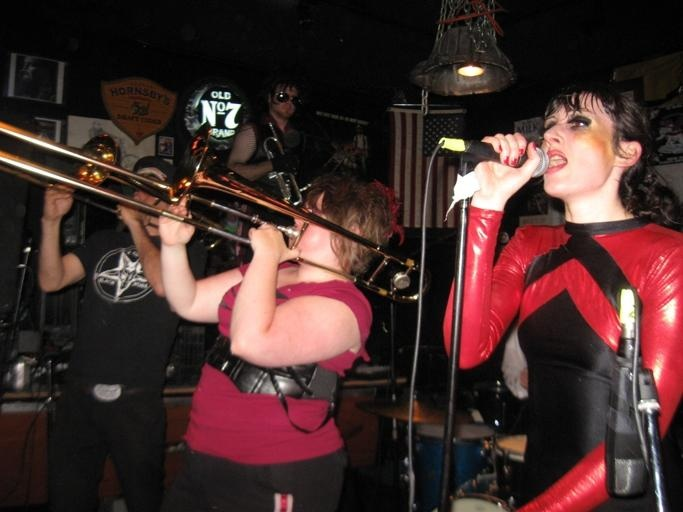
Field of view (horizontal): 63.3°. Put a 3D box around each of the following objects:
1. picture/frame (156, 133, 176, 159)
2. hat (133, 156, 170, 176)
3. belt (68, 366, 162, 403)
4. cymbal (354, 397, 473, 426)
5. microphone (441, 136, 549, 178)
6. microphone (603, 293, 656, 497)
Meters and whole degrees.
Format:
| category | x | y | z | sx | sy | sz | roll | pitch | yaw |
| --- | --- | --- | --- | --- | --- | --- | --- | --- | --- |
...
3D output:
| category | x | y | z | sx | sy | sz | roll | pitch | yaw |
| --- | --- | --- | --- | --- | --- | --- | --- | --- | --- |
| picture/frame | -1.527 | -0.942 | 4.775 | 0.192 | 0.182 | 0.177 | -1 | 10 | -30 |
| hat | -1.240 | -0.605 | 3.646 | 0.300 | 0.078 | 0.305 | -2 | -2 | -21 |
| belt | -1.299 | 0.756 | 3.171 | 0.545 | 0.177 | 0.162 | 3 | -36 | -7 |
| cymbal | 0.424 | 1.005 | 3.655 | 0.630 | 0.135 | 0.608 | 3 | -3 | -13 |
| microphone | 0.570 | -0.362 | 2.034 | 0.466 | 0.119 | 0.123 | 3 | -1 | -9 |
| microphone | 0.872 | 0.428 | 1.756 | 0.157 | 0.627 | 0.126 | 5 | -2 | 1 |
